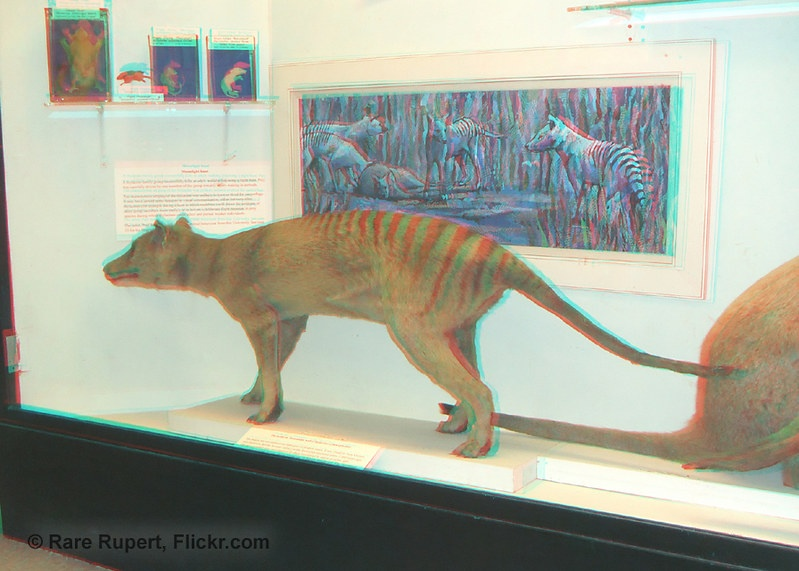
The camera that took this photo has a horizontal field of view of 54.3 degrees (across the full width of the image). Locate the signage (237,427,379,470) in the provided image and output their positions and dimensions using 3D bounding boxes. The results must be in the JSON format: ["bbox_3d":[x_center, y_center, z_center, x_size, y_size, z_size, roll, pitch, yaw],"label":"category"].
[{"bbox_3d":[-0.283,0.562,2.524,0.355,0.016,0.105,7,39,16],"label":"signage"}]

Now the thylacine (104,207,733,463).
[{"bbox_3d":[-0.044,0.141,2.538,2.258,0.793,0.399,4,9,23],"label":"thylacine"}]
